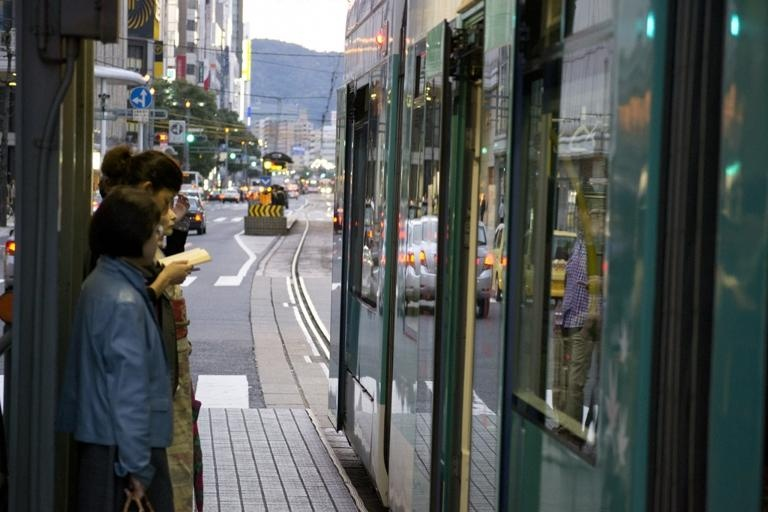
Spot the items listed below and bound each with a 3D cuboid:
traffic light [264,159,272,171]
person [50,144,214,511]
[{"bbox_3d":[-6.707,-5.281,44.275,0.384,0.530,0.424,-2,7,-25],"label":"traffic light"},{"bbox_3d":[-1.173,0.391,3.822,0.531,1.871,0.872,0,4,-22],"label":"person"}]
